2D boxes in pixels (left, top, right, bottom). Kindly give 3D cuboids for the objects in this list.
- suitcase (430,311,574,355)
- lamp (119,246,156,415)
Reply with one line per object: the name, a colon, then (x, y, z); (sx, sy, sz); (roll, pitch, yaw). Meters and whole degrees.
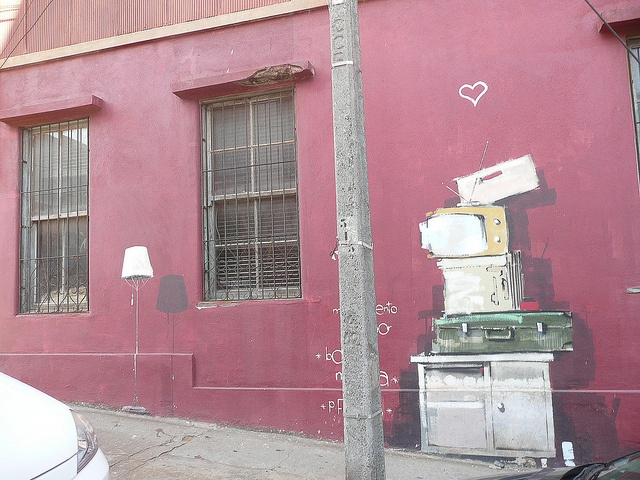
suitcase: (2.175, 1.111, 8.743); (1.602, 0.616, 0.137); (4, 11, 10)
lamp: (-2.457, 1.222, 9.775); (0.449, 2.245, 0.452); (-2, -6, 14)
